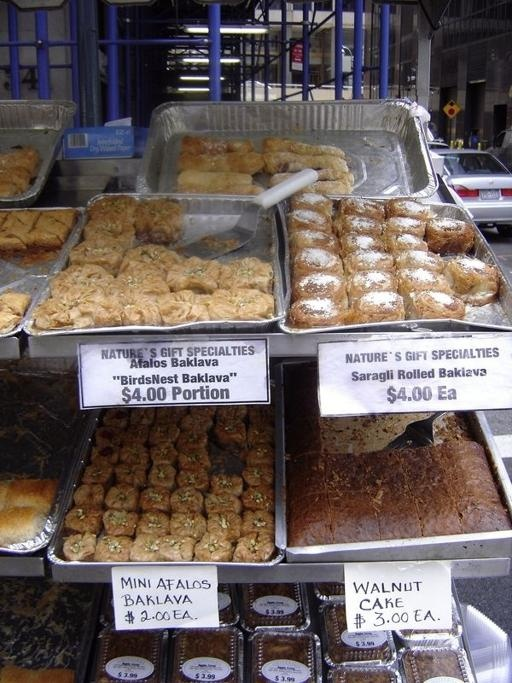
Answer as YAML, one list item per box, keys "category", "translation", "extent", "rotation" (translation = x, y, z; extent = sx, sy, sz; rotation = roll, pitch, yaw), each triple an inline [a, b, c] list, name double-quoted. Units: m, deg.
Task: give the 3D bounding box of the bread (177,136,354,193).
- category: "bread"
  translation: [0.029, -0.645, 1.991]
  extent: [0.616, 0.114, 0.322]
  rotation: [2, 43, -2]

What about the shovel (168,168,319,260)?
- category: "shovel"
  translation: [0.002, -0.355, 1.376]
  extent: [0.184, 0.076, 0.500]
  rotation: [21, 37, 36]

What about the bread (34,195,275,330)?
- category: "bread"
  translation: [-0.213, -0.214, 1.224]
  extent: [0.511, 0.195, 0.702]
  rotation: [0, 18, 1]

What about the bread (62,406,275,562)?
- category: "bread"
  translation: [-0.204, 0.314, 1.280]
  extent: [0.494, 0.099, 0.561]
  rotation: [0, 18, 1]
